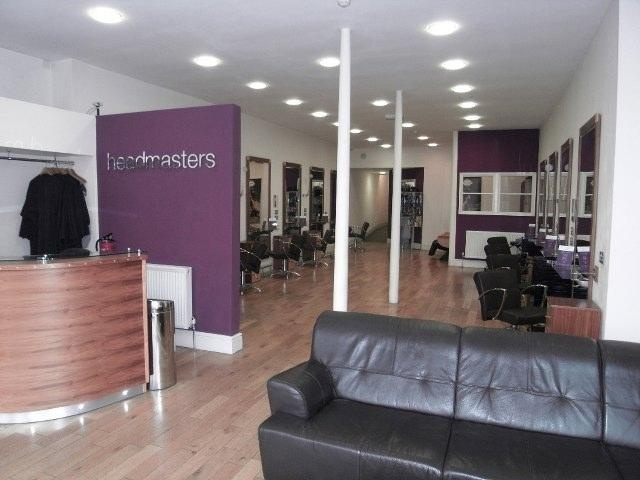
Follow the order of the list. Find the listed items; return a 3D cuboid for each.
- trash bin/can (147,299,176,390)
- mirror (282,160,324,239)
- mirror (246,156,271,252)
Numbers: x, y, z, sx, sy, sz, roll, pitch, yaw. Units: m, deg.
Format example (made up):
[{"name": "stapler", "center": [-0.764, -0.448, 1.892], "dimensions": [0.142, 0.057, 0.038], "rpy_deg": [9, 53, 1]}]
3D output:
[{"name": "trash bin/can", "center": [-1.757, 1.139, 5.117], "dimensions": [0.324, 0.976, 0.230], "rpy_deg": [-3, 4, -26]}, {"name": "mirror", "center": [-0.519, -1.154, 12.891], "dimensions": [0.126, 2.535, 2.295], "rpy_deg": [4, 3, 24]}, {"name": "mirror", "center": [-1.468, -0.986, 10.971], "dimensions": [0.159, 1.951, 1.153], "rpy_deg": [0, 3, 21]}]
